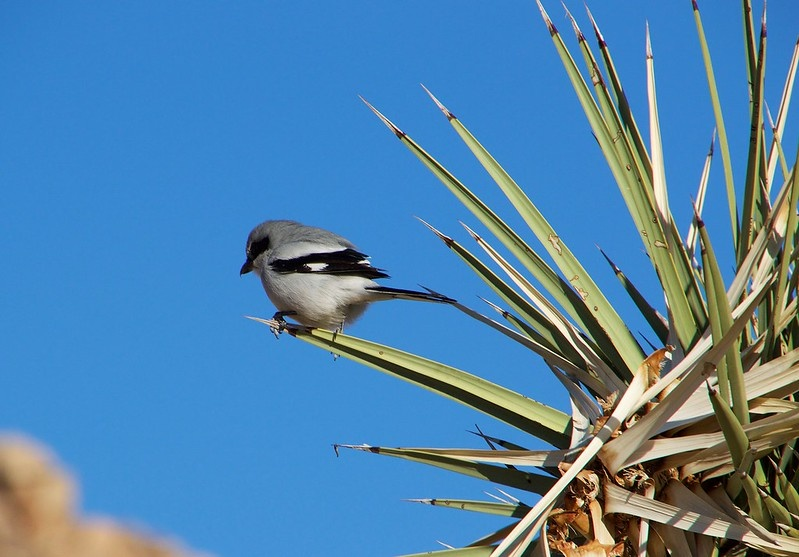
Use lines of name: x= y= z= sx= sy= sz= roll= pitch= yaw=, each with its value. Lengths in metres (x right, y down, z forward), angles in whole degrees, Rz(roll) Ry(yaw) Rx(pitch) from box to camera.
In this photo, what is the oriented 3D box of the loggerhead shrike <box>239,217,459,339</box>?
loggerhead shrike: x=-0.544 y=-0.023 z=7.573 sx=1.606 sy=0.650 sz=0.516 roll=1 pitch=-11 yaw=28
